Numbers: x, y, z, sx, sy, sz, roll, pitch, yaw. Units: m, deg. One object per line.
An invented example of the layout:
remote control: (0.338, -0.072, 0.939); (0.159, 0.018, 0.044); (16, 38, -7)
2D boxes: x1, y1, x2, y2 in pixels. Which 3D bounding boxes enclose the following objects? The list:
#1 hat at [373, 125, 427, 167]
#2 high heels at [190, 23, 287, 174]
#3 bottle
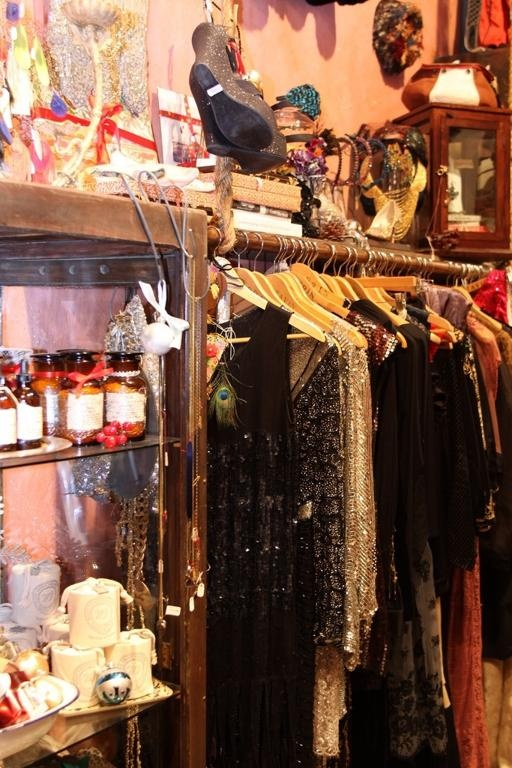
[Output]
hat: (0.492, -0.801, 2.050); (0.196, 0.139, 0.071); (0, -8, -14)
high heels: (-0.009, -0.381, 0.921); (0.084, 0.101, 0.262); (-12, -42, 9)
bottle: (-0.217, 0.020, 0.811); (0.150, 0.125, 0.055); (0, -9, -16)
